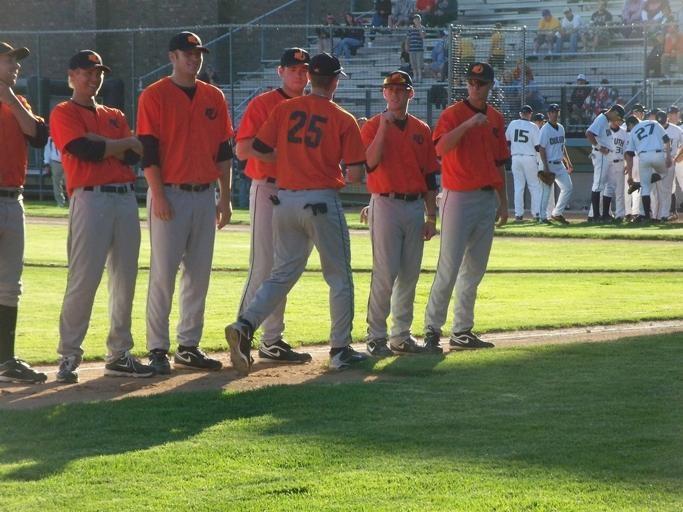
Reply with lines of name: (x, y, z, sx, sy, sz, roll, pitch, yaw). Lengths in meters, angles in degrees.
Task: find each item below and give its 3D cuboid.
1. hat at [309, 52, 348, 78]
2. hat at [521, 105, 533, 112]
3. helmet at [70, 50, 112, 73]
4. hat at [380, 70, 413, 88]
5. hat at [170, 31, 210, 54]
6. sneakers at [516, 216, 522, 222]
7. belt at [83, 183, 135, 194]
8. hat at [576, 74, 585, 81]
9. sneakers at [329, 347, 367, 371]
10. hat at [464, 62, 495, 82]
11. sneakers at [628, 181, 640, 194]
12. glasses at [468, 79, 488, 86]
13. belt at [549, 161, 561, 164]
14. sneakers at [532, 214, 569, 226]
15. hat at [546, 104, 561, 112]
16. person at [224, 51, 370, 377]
hat: (-0.144, -2.339, 20.191, 0.273, 0.205, 0.378, 23, 31, 39)
hat: (3.555, -2.807, 31.502, 0.235, 0.118, 0.325, 4, 13, 10)
helmet: (-3.069, -2.342, 19.841, 0.390, 0.185, 0.269, -1, 6, 31)
hat: (0.726, -2.218, 20.678, 0.299, 0.202, 0.436, 7, 7, 38)
hat: (-1.867, -2.595, 20.076, 0.379, 0.179, 0.267, 0, 12, 21)
sneakers: (3.451, -0.715, 31.739, 0.176, 0.096, 0.104, 2, -9, -6)
belt: (-2.791, -0.824, 19.881, 0.646, 0.121, 0.119, -1, 7, -30)
hat: (5.056, -3.746, 34.554, 0.172, 0.093, 0.258, 3, 14, 16)
sneakers: (0.055, 1.250, 20.248, 0.572, 0.238, 0.195, -5, 11, -30)
hat: (1.774, -2.334, 20.936, 0.339, 0.228, 0.209, 3, 6, 2)
sneakers: (5.635, -1.311, 31.484, 0.237, 0.238, 0.366, 4, 6, 11)
glasses: (1.743, -2.199, 20.895, 0.128, 0.037, 0.125, -1, -24, 32)
belt: (4.084, -1.769, 31.237, 0.215, 0.065, 0.074, 1, 6, -13)
sneakers: (4.061, -0.702, 31.747, 0.712, 0.274, 0.232, 0, 2, 8)
hat: (4.052, -2.788, 31.210, 0.240, 0.173, 0.312, 0, 14, 0)
person: (-0.403, -0.530, 20.094, 1.580, 3.871, 0.690, 2, 6, -5)
